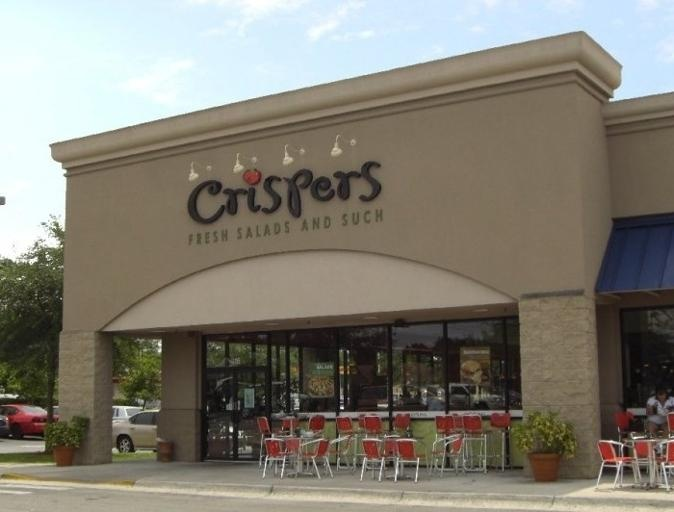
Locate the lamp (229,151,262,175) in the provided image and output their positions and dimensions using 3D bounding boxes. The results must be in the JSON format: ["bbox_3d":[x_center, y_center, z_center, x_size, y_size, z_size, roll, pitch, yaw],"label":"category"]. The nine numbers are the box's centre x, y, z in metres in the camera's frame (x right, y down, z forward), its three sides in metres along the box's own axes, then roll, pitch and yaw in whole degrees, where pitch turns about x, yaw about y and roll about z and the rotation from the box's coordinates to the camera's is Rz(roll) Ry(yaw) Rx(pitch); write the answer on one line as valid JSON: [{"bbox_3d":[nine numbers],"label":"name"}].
[{"bbox_3d":[-2.525,-2.590,24.682,0.798,0.646,0.390,-18,19,19],"label":"lamp"}]

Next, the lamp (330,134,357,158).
[{"bbox_3d":[0.105,-2.861,23.238,0.751,0.575,0.683,-12,9,-25],"label":"lamp"}]

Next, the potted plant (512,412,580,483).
[{"bbox_3d":[4.894,4.229,20.685,1.512,1.881,1.385,1,-15,-3],"label":"potted plant"}]

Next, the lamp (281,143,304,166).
[{"bbox_3d":[-1.250,-2.687,23.799,0.720,0.564,0.574,-3,10,31],"label":"lamp"}]

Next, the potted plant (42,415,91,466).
[{"bbox_3d":[-7.787,5.312,25.922,1.020,1.230,0.928,5,-9,-32],"label":"potted plant"}]

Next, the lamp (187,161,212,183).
[{"bbox_3d":[-3.879,-2.379,25.193,0.772,0.554,0.433,-3,10,33],"label":"lamp"}]

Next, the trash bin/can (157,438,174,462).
[{"bbox_3d":[-5.131,5.795,27.001,0.505,0.605,0.551,-1,-13,9],"label":"trash bin/can"}]
